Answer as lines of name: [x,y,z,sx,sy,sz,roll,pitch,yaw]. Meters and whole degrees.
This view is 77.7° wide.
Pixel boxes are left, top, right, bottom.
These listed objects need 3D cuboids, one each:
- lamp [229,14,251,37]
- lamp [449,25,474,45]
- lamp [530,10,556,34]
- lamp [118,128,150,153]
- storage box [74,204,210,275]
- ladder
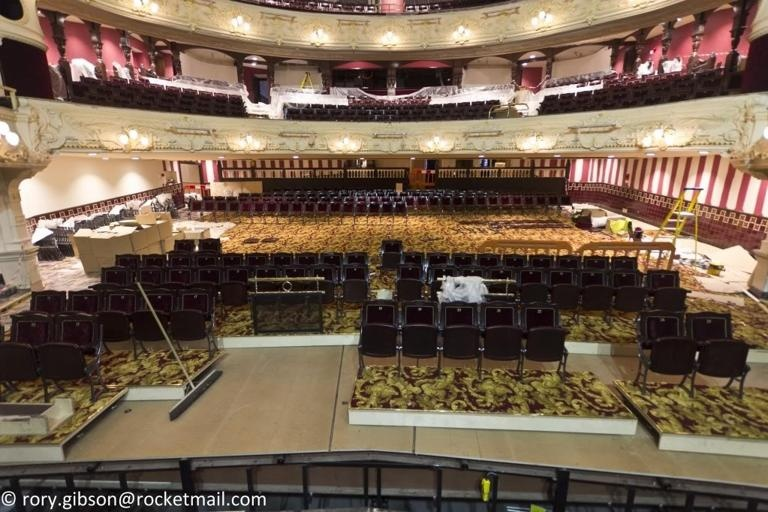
lamp: [-6.287,-10.112,20.941,0.916,0.804,0.200,-3,8,-38]
lamp: [3.563,-10.073,21.779,0.959,0.761,0.420,21,20,14]
lamp: [6.625,-9.812,19.902,0.876,0.693,0.286,11,28,34]
lamp: [-8.311,-3.838,15.711,0.290,0.574,1.011,28,24,26]
storage box: [-8.037,-0.576,15.638,3.286,0.953,2.672,-1,25,5]
ladder: [10.408,-1.121,16.993,1.579,2.889,1.675,0,12,-13]
